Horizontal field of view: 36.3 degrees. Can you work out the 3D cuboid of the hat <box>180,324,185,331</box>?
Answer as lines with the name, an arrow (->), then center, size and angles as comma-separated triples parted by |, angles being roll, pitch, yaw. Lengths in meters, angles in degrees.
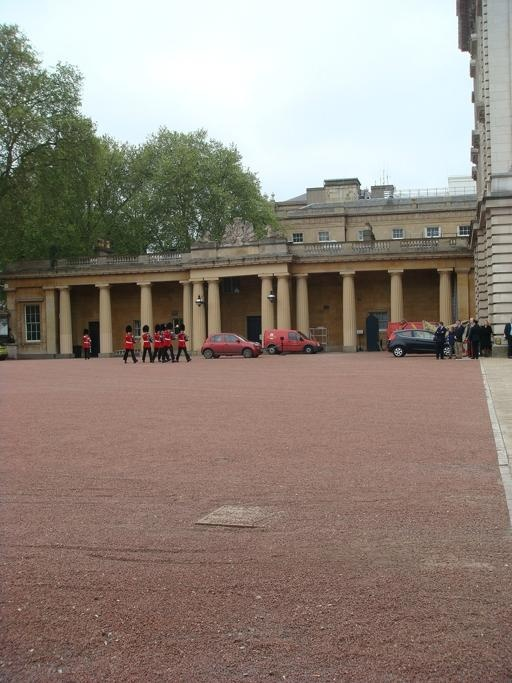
hat -> -4.019, -0.805, 42.765 | 0.364, 0.327, 0.354 | 5, -6, -31

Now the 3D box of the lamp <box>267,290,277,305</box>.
lamp -> 0.954, -2.605, 45.887 | 0.624, 0.837, 0.651 | -1, -2, -2

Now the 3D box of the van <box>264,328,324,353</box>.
van -> 1.848, 0.109, 43.209 | 2.331, 1.346, 1.472 | -1, 3, 11

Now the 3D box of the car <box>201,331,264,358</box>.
car -> -1.193, 0.239, 38.725 | 2.220, 1.166, 1.406 | -2, -1, 16

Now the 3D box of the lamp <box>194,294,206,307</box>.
lamp -> -3.409, -2.472, 47.856 | 0.389, 0.692, 1.235 | -1, 1, 10

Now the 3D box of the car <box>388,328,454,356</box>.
car -> 7.043, 0.031, 35.268 | 1.834, 0.996, 1.163 | -2, 5, 1

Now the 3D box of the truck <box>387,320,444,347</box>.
truck -> 8.590, -0.747, 42.716 | 2.510, 1.411, 1.876 | -1, 1, 4
